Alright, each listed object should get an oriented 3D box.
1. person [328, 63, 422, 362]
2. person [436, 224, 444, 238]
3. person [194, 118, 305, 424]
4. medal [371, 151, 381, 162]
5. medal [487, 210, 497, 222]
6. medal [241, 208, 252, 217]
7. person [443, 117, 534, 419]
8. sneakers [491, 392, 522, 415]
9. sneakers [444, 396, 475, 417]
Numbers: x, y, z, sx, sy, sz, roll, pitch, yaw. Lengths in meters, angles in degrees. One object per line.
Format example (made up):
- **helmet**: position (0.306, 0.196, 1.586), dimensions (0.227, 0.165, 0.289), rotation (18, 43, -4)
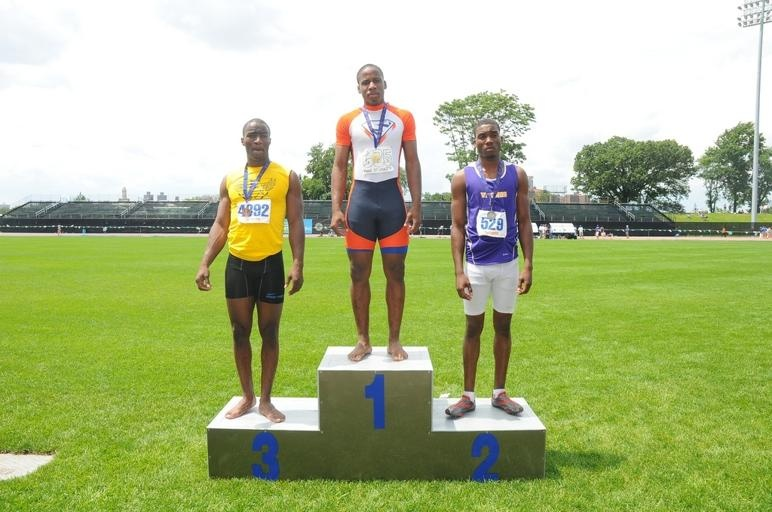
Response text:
- **person**: position (-0.134, -0.621, 8.565), dimensions (1.163, 3.720, 0.880), rotation (-1, 4, -4)
- **person**: position (4.803, -2.178, 58.650), dimensions (1.257, 1.234, 0.655), rotation (2, -11, 0)
- **person**: position (-1.682, 0.133, 8.289), dimensions (1.258, 3.708, 0.851), rotation (-1, 4, -6)
- **medal**: position (-0.136, -1.296, 8.535), dimensions (0.132, 0.120, 0.031), rotation (5, -3, 22)
- **medal**: position (1.334, -0.509, 8.327), dimensions (0.132, 0.115, 0.035), rotation (0, 4, 7)
- **medal**: position (-1.754, -0.555, 8.230), dimensions (0.153, 0.123, 0.030), rotation (1, 4, 14)
- **person**: position (1.322, 0.108, 8.333), dimensions (1.049, 3.702, 0.810), rotation (0, 4, 5)
- **sneakers**: position (1.517, 1.846, 8.230), dimensions (0.372, 0.247, 0.277), rotation (0, 4, 8)
- **sneakers**: position (0.911, 1.902, 8.172), dimensions (0.436, 0.177, 0.176), rotation (-20, 0, -42)
